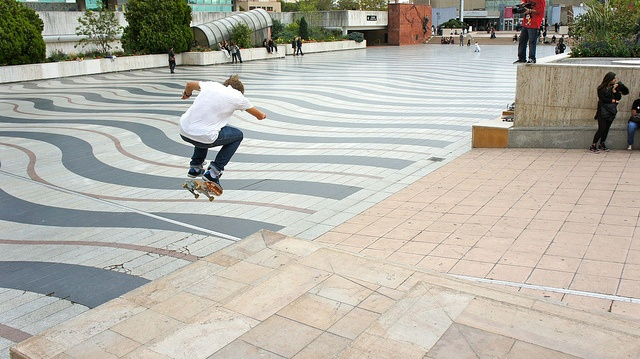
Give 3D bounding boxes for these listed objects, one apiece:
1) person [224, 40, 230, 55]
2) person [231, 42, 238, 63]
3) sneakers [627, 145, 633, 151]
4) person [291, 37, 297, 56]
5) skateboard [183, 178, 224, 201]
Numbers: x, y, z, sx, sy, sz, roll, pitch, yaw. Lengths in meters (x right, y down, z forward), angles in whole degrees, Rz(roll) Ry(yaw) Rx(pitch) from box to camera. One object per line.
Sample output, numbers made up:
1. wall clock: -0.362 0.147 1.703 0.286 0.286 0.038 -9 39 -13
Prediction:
1. person: -7.429 -10.937 33.063 0.471 0.996 0.906 -7 22 -10
2. person: -6.772 -10.435 32.822 0.535 1.484 1.073 -7 23 -10
3. sneakers: 8.633 -0.897 11.280 0.071 0.200 0.144 -47 32 -16
4. person: -2.291 -13.229 39.532 0.499 1.597 0.843 -4 23 -2
5. skateboard: -2.356 0.288 8.495 0.547 0.109 0.588 8 8 -29
